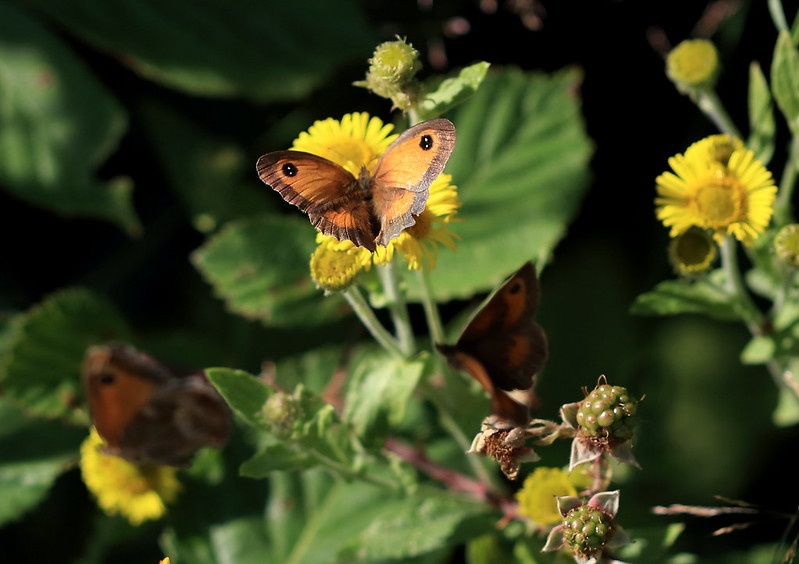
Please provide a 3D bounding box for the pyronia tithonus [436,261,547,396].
[{"bbox_3d":[0.149,0.101,1.478,0.182,0.182,0.271,-4,-12,-4],"label":"pyronia tithonus"}]

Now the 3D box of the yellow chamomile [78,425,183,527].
[{"bbox_3d":[-0.551,0.410,1.757,0.200,0.221,0.082,21,10,-14],"label":"yellow chamomile"}]

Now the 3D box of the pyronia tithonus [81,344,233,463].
[{"bbox_3d":[-0.465,0.247,1.612,0.265,0.197,0.137,31,-7,-10],"label":"pyronia tithonus"}]

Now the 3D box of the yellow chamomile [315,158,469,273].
[{"bbox_3d":[-0.041,-0.113,1.414,0.320,0.105,0.250,8,-23,-44],"label":"yellow chamomile"}]

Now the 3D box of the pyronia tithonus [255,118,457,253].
[{"bbox_3d":[-0.059,-0.166,1.436,0.367,0.235,0.093,-2,-4,16],"label":"pyronia tithonus"}]

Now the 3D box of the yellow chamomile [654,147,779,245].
[{"bbox_3d":[0.592,-0.157,1.560,0.241,0.101,0.261,5,-28,11],"label":"yellow chamomile"}]
